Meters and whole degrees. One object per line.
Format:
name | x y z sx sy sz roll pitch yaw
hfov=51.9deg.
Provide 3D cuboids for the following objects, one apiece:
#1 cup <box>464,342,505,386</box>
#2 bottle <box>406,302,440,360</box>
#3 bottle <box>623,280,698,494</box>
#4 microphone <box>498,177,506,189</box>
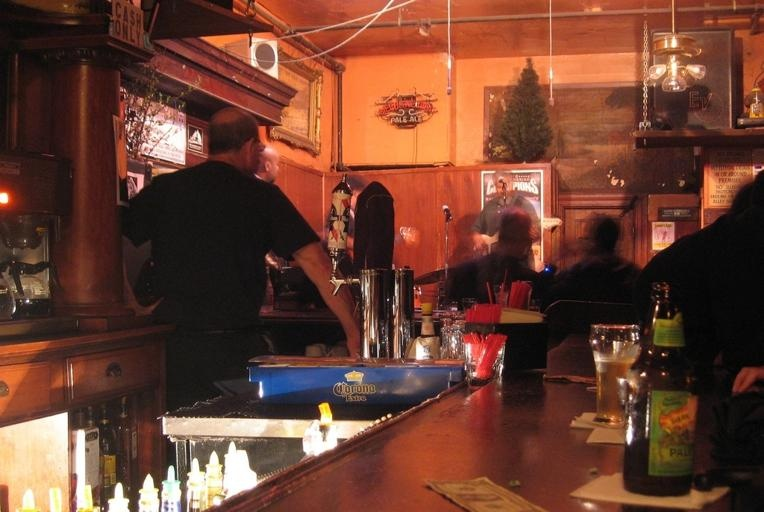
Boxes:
cup | 0.406 0.419 3.145 0.155 0.181 0.166 0 3 0
bottle | 0.180 0.325 3.336 0.140 0.240 0.298 0 9 3
bottle | 0.821 0.390 2.305 0.191 0.595 0.180 -1 8 0
microphone | 1.331 -0.793 8.624 0.085 0.122 0.109 1 6 13
